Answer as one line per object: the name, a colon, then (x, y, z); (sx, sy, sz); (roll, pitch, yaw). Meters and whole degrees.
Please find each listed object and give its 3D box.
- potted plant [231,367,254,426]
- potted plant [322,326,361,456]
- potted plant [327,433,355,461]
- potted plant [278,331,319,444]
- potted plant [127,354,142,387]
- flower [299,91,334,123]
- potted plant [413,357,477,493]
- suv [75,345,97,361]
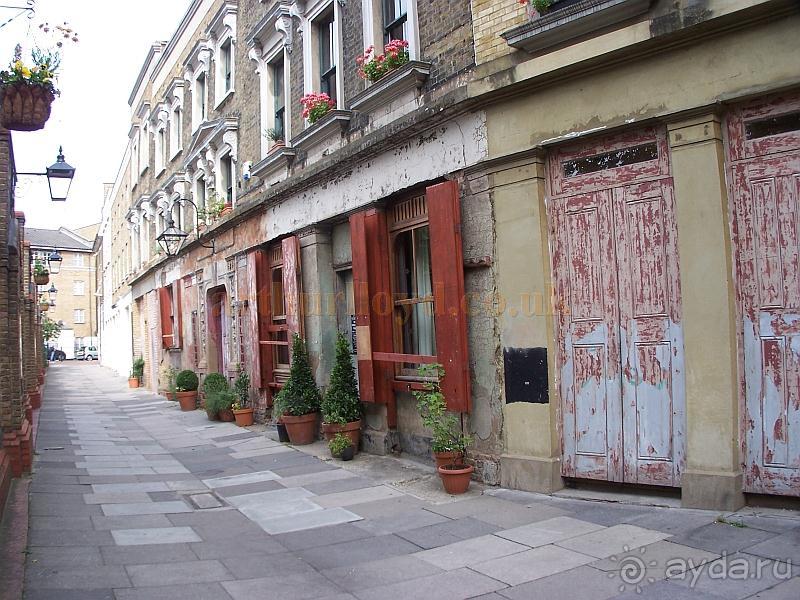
potted plant: (-3.722, 2.317, 15.252); (0.580, 1.162, 0.621); (-3, -2, 1)
potted plant: (-0.994, 1.626, 11.017); (0.774, 2.141, 0.681); (-3, 0, -34)
potted plant: (-1.030, 2.454, 10.802); (0.381, 0.433, 0.408); (0, -4, -20)
potted plant: (-2.023, 1.715, 12.431); (0.854, 2.060, 0.865); (-2, -5, 11)
potted plant: (-11.918, 3.218, 28.754); (0.617, 1.368, 1.442); (-3, 0, -25)
flower: (-1.645, -3.675, 12.376); (0.623, 0.496, 0.671); (-7, 5, 17)
potted plant: (0.583, 1.760, 9.228); (0.674, 1.774, 1.463); (-3, 0, -15)
suv: (-32.596, 5.561, 66.809); (1.339, 1.354, 2.462); (-1, 1, -1)
